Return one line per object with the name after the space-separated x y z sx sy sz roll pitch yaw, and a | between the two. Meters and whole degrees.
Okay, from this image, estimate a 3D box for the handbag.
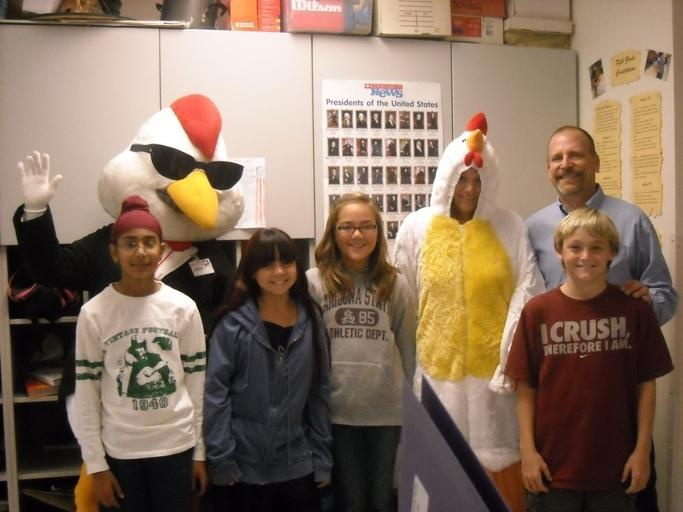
-1.354 0.205 2.772 0.256 0.137 0.307 -4 19 -31 | handbag

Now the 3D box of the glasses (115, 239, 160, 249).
-0.732 -0.044 2.210 0.139 0.042 0.041 -4 6 -18 | glasses
